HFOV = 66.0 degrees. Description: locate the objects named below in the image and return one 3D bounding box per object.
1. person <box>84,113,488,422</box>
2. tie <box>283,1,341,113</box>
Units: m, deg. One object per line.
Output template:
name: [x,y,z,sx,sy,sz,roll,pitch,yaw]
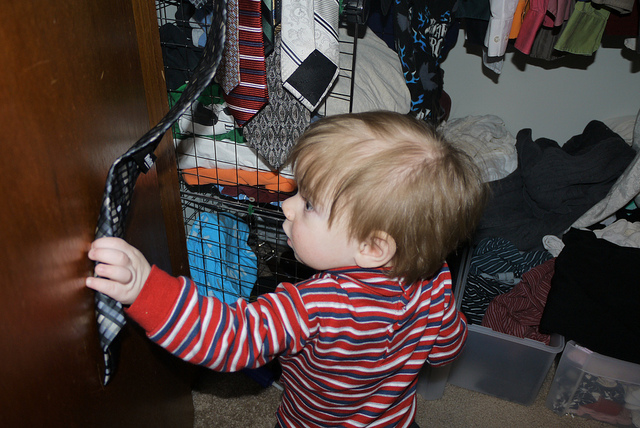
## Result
person: [-0.074,0.133,1.146,0.671,0.845,0.330,-32,61,-33]
tie: [-0.024,-0.445,1.390,0.179,0.275,0.131,-6,35,-23]
